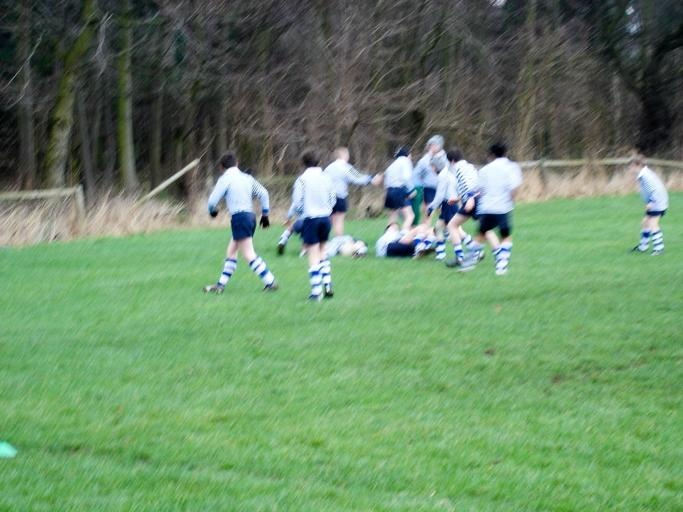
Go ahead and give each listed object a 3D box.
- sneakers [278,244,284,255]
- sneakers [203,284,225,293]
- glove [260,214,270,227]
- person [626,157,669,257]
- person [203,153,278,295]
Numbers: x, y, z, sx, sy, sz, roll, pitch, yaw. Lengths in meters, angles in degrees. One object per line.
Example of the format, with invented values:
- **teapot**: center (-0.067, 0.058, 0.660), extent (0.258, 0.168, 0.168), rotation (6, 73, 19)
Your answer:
- **sneakers**: center (-1.151, -0.123, 16.502), extent (0.156, 0.184, 0.146), rotation (2, 4, 16)
- **sneakers**: center (-1.905, 0.496, 13.066), extent (0.248, 0.193, 0.140), rotation (7, -4, 6)
- **glove**: center (-1.176, -0.519, 13.396), extent (0.120, 0.211, 0.069), rotation (3, 18, 16)
- **person**: center (5.319, -0.876, 15.166), extent (0.609, 1.674, 0.955), rotation (4, 12, 21)
- **person**: center (-1.492, -0.510, 13.083), extent (1.011, 2.182, 1.178), rotation (-1, 11, -5)
